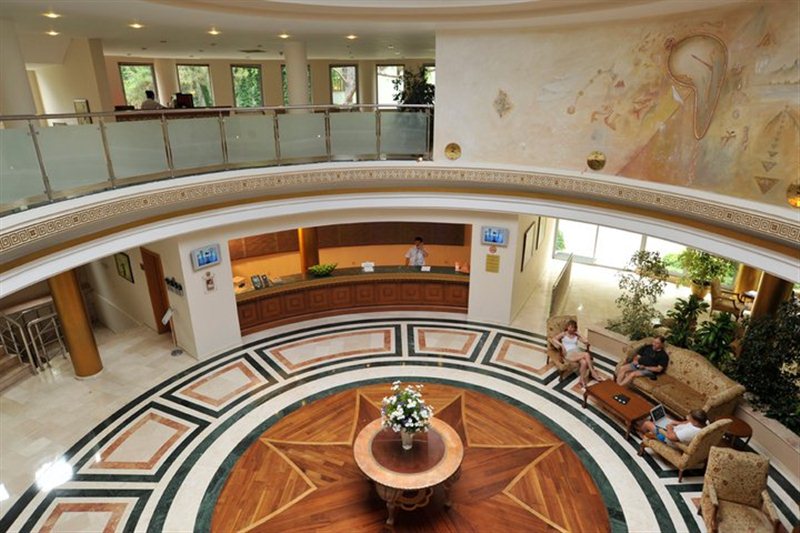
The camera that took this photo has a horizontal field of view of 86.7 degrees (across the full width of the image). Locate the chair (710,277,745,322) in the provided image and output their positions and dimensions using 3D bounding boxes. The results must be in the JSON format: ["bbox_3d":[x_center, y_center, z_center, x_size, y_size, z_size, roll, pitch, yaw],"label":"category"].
[{"bbox_3d":[9.786,1.001,12.731,0.793,1.070,0.802,16,38,42],"label":"chair"}]

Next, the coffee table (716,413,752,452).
[{"bbox_3d":[6.574,3.290,8.384,0.611,0.669,0.586,7,48,45],"label":"coffee table"}]

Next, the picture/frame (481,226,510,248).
[{"bbox_3d":[2.718,-0.901,12.069,0.639,0.445,0.068,7,20,15],"label":"picture/frame"}]

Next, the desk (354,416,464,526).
[{"bbox_3d":[0.203,4.039,8.229,1.851,0.977,1.774,-11,37,-15],"label":"desk"}]

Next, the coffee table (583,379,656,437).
[{"bbox_3d":[4.753,3.089,9.303,0.802,0.680,1.267,-14,25,-30],"label":"coffee table"}]

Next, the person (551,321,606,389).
[{"bbox_3d":[4.370,2.092,10.469,0.879,1.145,1.685,-8,15,-3],"label":"person"}]

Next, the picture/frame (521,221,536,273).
[{"bbox_3d":[3.918,-0.686,13.105,0.062,1.114,1.607,8,7,26],"label":"picture/frame"}]

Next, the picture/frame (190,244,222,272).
[{"bbox_3d":[-4.992,-0.263,10.810,0.090,0.452,0.669,11,19,35],"label":"picture/frame"}]

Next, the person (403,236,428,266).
[{"bbox_3d":[0.545,-0.487,14.044,0.578,1.059,0.974,-1,22,-1],"label":"person"}]

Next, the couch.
[{"bbox_3d":[6.316,2.623,9.228,1.236,1.128,2.305,-12,27,-19],"label":"couch"}]

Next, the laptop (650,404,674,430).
[{"bbox_3d":[5.284,3.052,8.688,0.480,0.286,0.402,-13,25,-26],"label":"laptop"}]

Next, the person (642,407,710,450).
[{"bbox_3d":[5.374,3.192,8.301,0.531,0.971,0.798,-20,39,-28],"label":"person"}]

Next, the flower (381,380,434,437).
[{"bbox_3d":[0.041,2.675,8.089,1.066,0.980,1.053,5,-5,11],"label":"flower"}]

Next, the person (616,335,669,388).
[{"bbox_3d":[5.588,2.318,9.944,1.214,1.378,0.732,-1,8,-6],"label":"person"}]
